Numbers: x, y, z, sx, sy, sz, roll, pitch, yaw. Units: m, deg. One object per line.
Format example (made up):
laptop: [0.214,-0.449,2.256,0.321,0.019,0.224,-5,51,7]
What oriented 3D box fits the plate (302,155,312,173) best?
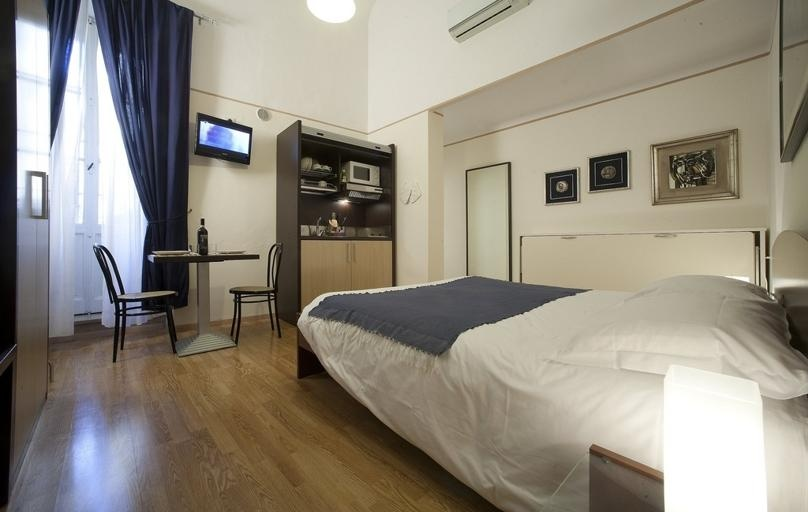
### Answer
plate: [-1.255,-1.209,6.612,0.107,0.177,0.231,2,3,31]

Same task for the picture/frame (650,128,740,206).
picture/frame: [3.447,-1.051,5.889,0.966,0.908,0.093,-2,-1,41]

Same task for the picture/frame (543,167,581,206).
picture/frame: [2.196,-0.973,6.934,0.056,0.576,0.563,2,-1,-40]

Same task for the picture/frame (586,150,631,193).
picture/frame: [2.671,-1.106,6.515,0.076,0.595,0.593,3,-2,-45]

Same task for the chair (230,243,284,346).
chair: [-1.691,0.377,5.759,0.585,1.105,0.537,-1,4,-22]

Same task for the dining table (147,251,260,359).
dining table: [-2.146,0.480,5.560,1.099,1.085,1.111,2,-2,-33]

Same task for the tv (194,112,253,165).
tv: [-2.173,-1.402,5.990,0.684,0.513,0.090,1,10,-41]

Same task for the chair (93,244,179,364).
chair: [-2.722,0.432,5.165,0.727,1.180,0.598,-3,3,-32]
